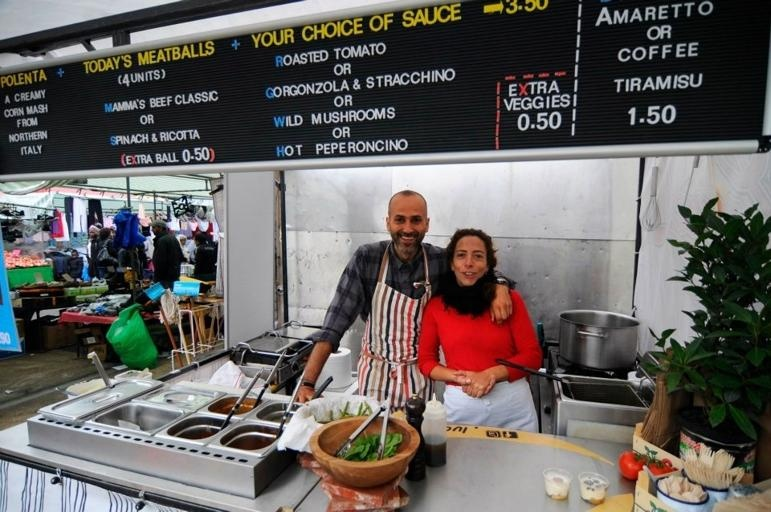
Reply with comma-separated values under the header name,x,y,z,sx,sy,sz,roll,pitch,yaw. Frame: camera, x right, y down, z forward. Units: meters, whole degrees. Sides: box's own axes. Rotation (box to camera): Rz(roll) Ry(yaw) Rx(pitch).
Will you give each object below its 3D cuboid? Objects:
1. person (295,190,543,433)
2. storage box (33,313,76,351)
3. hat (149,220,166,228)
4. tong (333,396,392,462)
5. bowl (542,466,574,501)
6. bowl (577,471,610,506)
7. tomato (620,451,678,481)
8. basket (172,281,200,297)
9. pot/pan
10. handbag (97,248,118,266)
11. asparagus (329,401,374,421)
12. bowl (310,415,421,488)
name,x,y,z,sx,sy,sz,roll,pitch,yaw
person,0.095,0.262,2.882,1.135,1.275,0.427,-1,0,-10
storage box,-4.502,1.031,6.807,0.304,0.514,0.567,0,0,21
hat,-3.179,-0.449,7.048,0.163,0.097,0.322,0,-2,-20
tong,-0.075,0.732,2.116,0.111,0.039,0.372,6,32,29
bowl,0.750,0.974,2.157,0.119,0.114,0.100,-1,-1,9
bowl,0.895,0.977,2.128,0.106,0.069,0.104,1,-6,0
tomato,1.116,0.901,2.156,0.136,0.062,0.141,2,-2,21
basket,-1.957,0.327,4.974,0.198,0.166,0.928,0,-2,-19
pot/pan,1.381,0.551,3.230,0.408,0.231,0.463,-1,1,29
handbag,-4.478,0.009,8.079,0.144,0.272,0.290,-5,-2,13
asparagus,-0.137,0.710,2.321,0.098,0.043,0.113,-3,-3,39
bowl,-0.086,0.803,2.037,0.302,0.116,0.299,0,5,0
